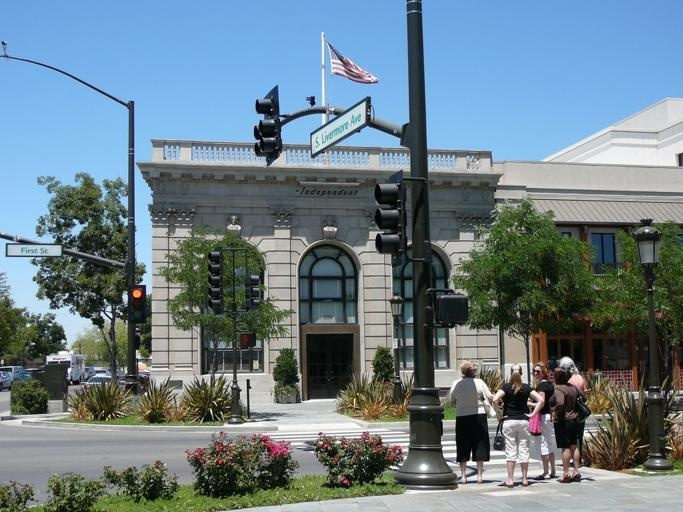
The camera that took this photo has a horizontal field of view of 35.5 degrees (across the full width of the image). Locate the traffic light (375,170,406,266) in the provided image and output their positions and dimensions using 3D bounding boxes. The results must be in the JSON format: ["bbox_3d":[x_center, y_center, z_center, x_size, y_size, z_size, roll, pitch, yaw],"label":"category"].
[{"bbox_3d":[1.255,-1.024,27.241,0.809,2.448,0.763,-2,-7,3],"label":"traffic light"}]

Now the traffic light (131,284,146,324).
[{"bbox_3d":[-7.443,1.707,38.955,0.507,1.358,0.396,-3,-7,7],"label":"traffic light"}]

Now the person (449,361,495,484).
[{"bbox_3d":[3.461,4.400,28.505,1.073,3.188,1.129,-3,-7,5],"label":"person"}]

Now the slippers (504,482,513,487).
[{"bbox_3d":[4.325,5.908,27.583,0.240,0.127,0.326,-4,-8,9],"label":"slippers"}]

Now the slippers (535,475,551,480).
[{"bbox_3d":[5.353,5.891,28.367,0.369,0.152,0.170,1,-8,7],"label":"slippers"}]

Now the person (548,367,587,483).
[{"bbox_3d":[6.024,4.432,28.297,0.945,3.009,0.642,4,-9,-41],"label":"person"}]

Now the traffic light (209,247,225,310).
[{"bbox_3d":[-4.363,0.815,36.909,0.465,2.105,1.184,-1,-8,-11],"label":"traffic light"}]

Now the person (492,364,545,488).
[{"bbox_3d":[4.625,4.506,27.981,1.203,2.986,0.889,-3,-7,8],"label":"person"}]

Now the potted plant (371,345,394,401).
[{"bbox_3d":[1.883,4.932,49.126,0.986,1.642,1.141,-2,-8,2],"label":"potted plant"}]

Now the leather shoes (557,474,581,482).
[{"bbox_3d":[5.940,5.807,27.897,0.582,0.263,0.226,2,-6,-1],"label":"leather shoes"}]

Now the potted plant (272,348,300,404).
[{"bbox_3d":[-2.527,5.416,48.358,1.187,2.508,0.872,-1,-7,-4],"label":"potted plant"}]

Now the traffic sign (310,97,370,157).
[{"bbox_3d":[-0.047,-3.494,28.453,0.408,1.058,2.204,4,-10,-40],"label":"traffic sign"}]

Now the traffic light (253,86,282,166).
[{"bbox_3d":[-1.994,-3.562,28.529,0.710,1.849,0.815,-3,-7,6],"label":"traffic light"}]

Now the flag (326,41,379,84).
[{"bbox_3d":[0.380,-8.418,46.892,1.584,2.278,2.812,-2,-8,-4],"label":"flag"}]

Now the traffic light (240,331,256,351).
[{"bbox_3d":[-3.409,3.004,38.565,0.535,0.560,0.654,-1,-8,-8],"label":"traffic light"}]
